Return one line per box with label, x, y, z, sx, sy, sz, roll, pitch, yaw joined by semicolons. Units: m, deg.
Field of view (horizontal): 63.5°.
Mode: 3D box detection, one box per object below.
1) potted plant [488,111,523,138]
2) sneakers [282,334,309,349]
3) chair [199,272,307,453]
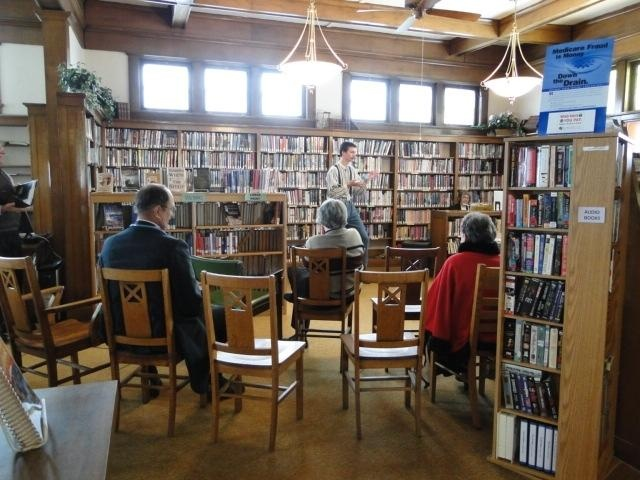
potted plant;3.382;-2.066;9.474;0.480;0.359;0.506;2;7;11
sneakers;-0.192;0.842;4.301;0.267;0.131;0.195;0;-4;6
chair;-0.458;0.745;3.724;0.689;1.190;0.835;0;13;-2
